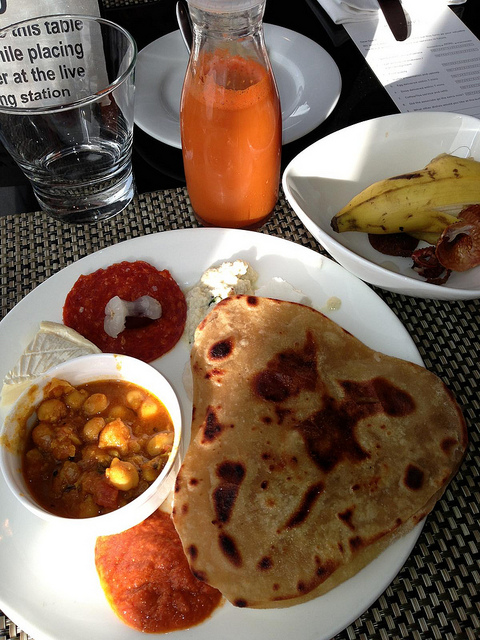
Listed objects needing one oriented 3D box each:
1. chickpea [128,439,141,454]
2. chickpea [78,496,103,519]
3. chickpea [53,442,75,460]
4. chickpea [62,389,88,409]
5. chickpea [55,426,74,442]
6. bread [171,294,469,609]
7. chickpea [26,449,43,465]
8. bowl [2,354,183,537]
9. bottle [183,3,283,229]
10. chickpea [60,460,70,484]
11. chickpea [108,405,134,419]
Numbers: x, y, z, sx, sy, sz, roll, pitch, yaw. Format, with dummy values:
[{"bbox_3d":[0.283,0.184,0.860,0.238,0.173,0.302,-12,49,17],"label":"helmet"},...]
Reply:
[{"bbox_3d":[-0.133,0.159,0.667,0.015,0.005,0.014,23,41,-32],"label":"chickpea"},{"bbox_3d":[-0.173,0.213,0.608,0.027,0.011,0.023,-13,57,-11],"label":"chickpea"},{"bbox_3d":[-0.217,0.159,0.650,0.021,0.012,0.022,-5,80,7],"label":"chickpea"},{"bbox_3d":[-0.214,0.103,0.688,0.028,0.015,0.023,35,72,0],"label":"chickpea"},{"bbox_3d":[-0.225,0.143,0.661,0.016,0.005,0.016,-7,59,0],"label":"chickpea"},{"bbox_3d":[0.071,0.129,0.669,0.357,0.081,0.376,-42,102,8],"label":"bread"},{"bbox_3d":[-0.250,0.165,0.643,0.018,0.010,0.017,27,41,-19],"label":"chickpea"},{"bbox_3d":[-0.174,0.148,0.638,0.211,0.089,0.211,1,56,-2],"label":"bowl"},{"bbox_3d":[-0.011,-0.275,0.785,0.151,0.404,0.099,2,56,0],"label":"bottle"},{"bbox_3d":[-0.208,0.181,0.630,0.015,0.005,0.020,10,75,-23],"label":"chickpea"},{"bbox_3d":[-0.154,0.119,0.688,0.022,0.012,0.018,42,85,-8],"label":"chickpea"}]
